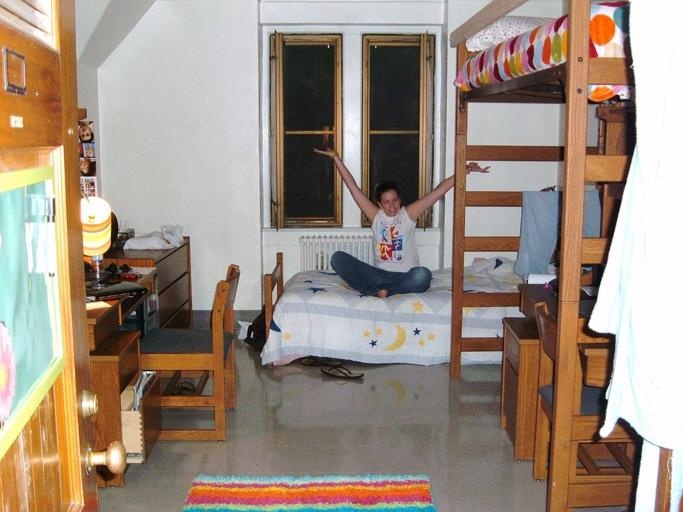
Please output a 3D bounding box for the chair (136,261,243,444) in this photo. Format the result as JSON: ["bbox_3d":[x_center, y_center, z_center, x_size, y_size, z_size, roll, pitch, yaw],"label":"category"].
[{"bbox_3d":[-0.742,0.608,3.715,0.734,1.182,1.068,2,9,-4],"label":"chair"}]

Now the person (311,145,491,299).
[{"bbox_3d":[0.446,-0.260,4.655,1.173,1.212,0.658,-1,5,-12],"label":"person"}]

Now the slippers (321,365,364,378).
[{"bbox_3d":[0.008,0.807,4.111,0.221,0.064,0.106,1,15,8],"label":"slippers"}]

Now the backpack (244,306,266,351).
[{"bbox_3d":[-0.653,0.584,4.640,0.094,0.283,0.217,6,0,-15],"label":"backpack"}]

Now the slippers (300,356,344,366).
[{"bbox_3d":[-0.135,0.765,4.297,0.204,0.060,0.118,4,6,-6],"label":"slippers"}]
